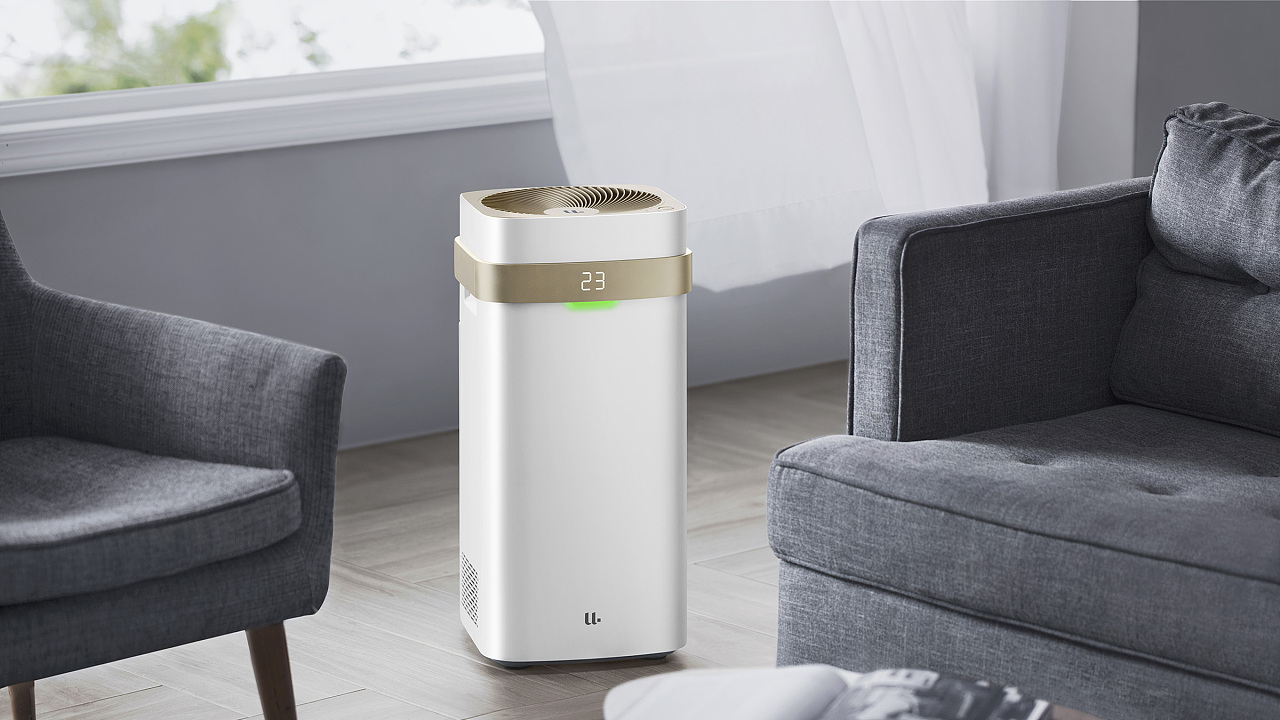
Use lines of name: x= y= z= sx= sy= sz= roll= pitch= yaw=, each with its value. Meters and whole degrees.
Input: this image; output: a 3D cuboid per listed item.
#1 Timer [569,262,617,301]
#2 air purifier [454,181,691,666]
Timer: x=-0.103 y=-0.167 z=2.009 sx=0.103 sy=0.053 sz=0.014 roll=-1 pitch=8 yaw=-6
air purifier: x=-0.125 y=0.177 z=2.089 sx=0.565 sy=1.012 sz=0.282 roll=-7 pitch=20 yaw=3
